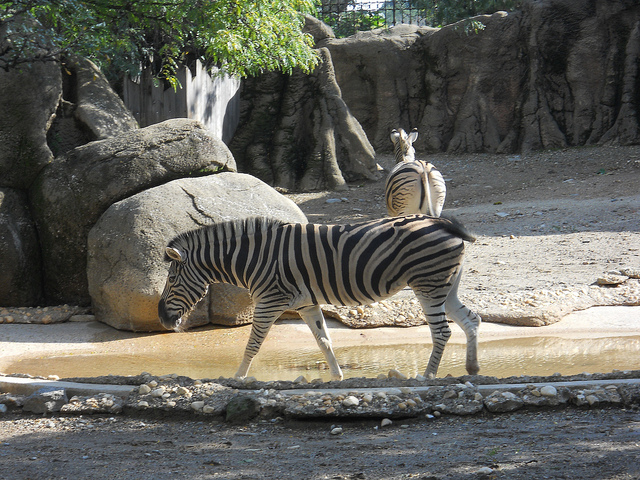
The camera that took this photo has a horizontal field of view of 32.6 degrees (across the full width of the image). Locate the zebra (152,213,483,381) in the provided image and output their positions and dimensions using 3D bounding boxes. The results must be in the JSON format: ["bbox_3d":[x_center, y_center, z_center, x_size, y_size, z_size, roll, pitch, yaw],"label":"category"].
[{"bbox_3d":[0.078,0.717,14.300,5.128,1.766,0.990,-3,1,27],"label":"zebra"}]
